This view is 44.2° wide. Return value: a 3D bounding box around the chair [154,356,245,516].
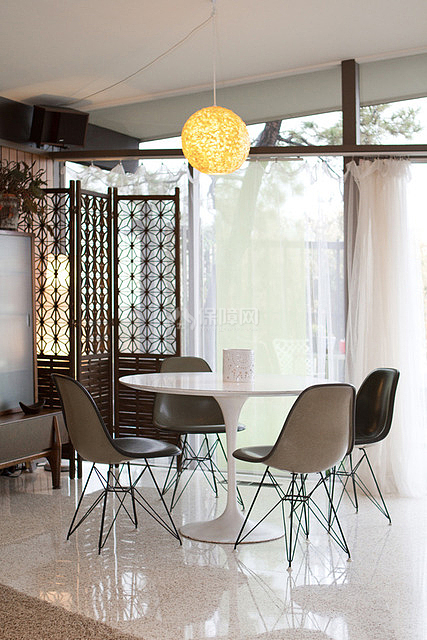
[{"bbox_3d":[-0.178,0.701,3.612,0.678,1.190,0.839,3,-14,-13],"label":"chair"}]
